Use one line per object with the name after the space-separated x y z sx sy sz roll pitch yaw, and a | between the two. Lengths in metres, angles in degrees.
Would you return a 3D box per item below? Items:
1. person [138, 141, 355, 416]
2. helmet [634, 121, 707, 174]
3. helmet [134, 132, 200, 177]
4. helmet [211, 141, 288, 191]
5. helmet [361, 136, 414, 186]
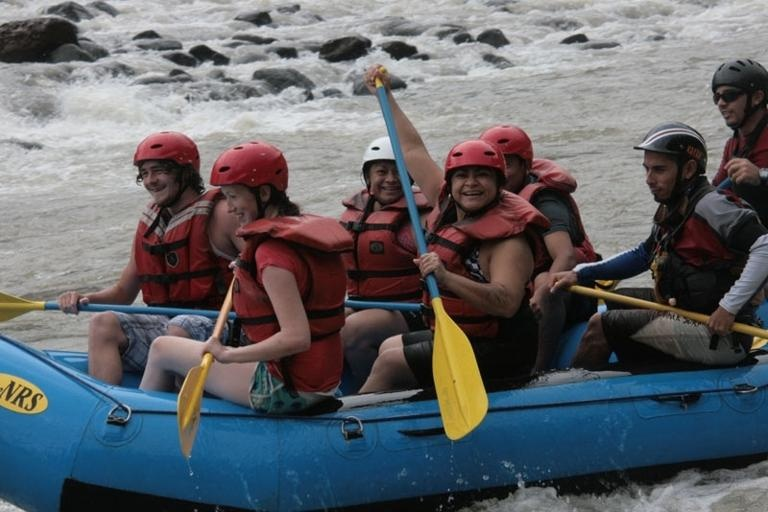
-0.972 0.182 7.908 1.150 1.993 0.944 5 19 33 | person
2.253 -0.830 8.336 0.645 0.379 0.413 4 6 -16 | helmet
-1.802 -0.847 8.725 0.431 0.306 0.593 -1 8 37 | helmet
-1.042 -0.689 8.007 0.647 0.333 0.441 -13 24 -33 | helmet
0.027 -0.824 9.169 0.381 0.401 0.352 1 10 -1 | helmet
